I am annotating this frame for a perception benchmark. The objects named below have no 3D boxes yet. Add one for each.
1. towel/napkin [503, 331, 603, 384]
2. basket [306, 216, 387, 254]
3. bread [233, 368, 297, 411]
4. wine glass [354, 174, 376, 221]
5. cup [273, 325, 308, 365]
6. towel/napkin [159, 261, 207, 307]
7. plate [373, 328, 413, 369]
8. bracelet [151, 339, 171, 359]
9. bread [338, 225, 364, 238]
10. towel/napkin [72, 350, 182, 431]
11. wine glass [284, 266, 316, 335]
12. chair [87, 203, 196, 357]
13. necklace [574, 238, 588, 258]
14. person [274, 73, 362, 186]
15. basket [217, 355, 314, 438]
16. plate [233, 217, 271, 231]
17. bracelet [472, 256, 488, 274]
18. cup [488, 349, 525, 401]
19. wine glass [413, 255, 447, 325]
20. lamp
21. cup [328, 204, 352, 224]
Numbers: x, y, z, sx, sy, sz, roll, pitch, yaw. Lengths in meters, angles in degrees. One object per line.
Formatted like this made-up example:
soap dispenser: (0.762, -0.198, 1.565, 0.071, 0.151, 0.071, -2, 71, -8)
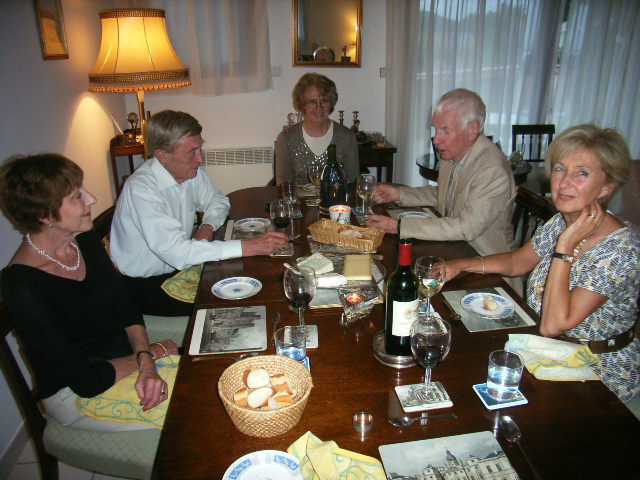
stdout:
towel/napkin: (0.763, 0.383, 1.447, 0.169, 0.055, 0.178, -4, 26, -5)
basket: (0.121, -0.026, 2.172, 0.324, 0.077, 0.169, 13, 38, 12)
bread: (-0.157, 0.426, 1.271, 0.124, 0.050, 0.115, 3, 19, 2)
wine glass: (0.264, -0.241, 2.600, 0.134, 0.336, 0.145, 0, 42, 1)
cup: (-0.097, 0.345, 1.512, 0.111, 0.129, 0.120, -2, 15, 0)
towel/napkin: (-0.660, 0.216, 2.212, 0.222, 0.028, 0.197, -9, 35, -10)
plate: (0.261, 0.379, 1.529, 0.161, 0.053, 0.160, -3, 20, -13)
bracelet: (-0.684, 0.471, 1.919, 0.062, 0.021, 0.062, 18, 15, -2)
bread: (0.162, -0.040, 2.173, 0.087, 0.026, 0.066, 4, 16, -4)
towel/napkin: (-0.743, 0.589, 1.698, 0.329, 0.085, 0.330, -2, 39, 14)
wine glass: (-0.073, 0.224, 1.625, 0.096, 0.248, 0.102, 4, 40, 10)
chair: (-0.870, 0.205, 2.159, 0.399, 0.627, 0.371, -4, 49, -2)
necklace: (1.054, 0.034, 1.798, 0.028, 0.085, 0.033, 14, -7, 32)
person: (-0.028, -0.757, 3.512, 0.697, 1.032, 0.602, -3, 27, -5)
basket: (-0.151, 0.499, 1.312, 0.234, 0.088, 0.233, -7, -2, 16)
plate: (-0.376, -0.087, 2.490, 0.115, 0.015, 0.116, 3, 24, 1)
bracelet: (0.713, 0.116, 1.973, 0.052, 0.070, 0.028, 4, 1, 45)
cup: (0.573, 0.442, 1.413, 0.118, 0.133, 0.127, 8, -14, 2)
wine glass: (0.406, 0.192, 1.644, 0.128, 0.256, 0.124, 11, 30, 33)
lamp: (-1.167, -1.359, 3.373, 0.680, 1.126, 0.679, 1, 26, 4)
cup: (0.108, -0.146, 2.315, 0.104, 0.100, 0.098, -1, 27, 1)
